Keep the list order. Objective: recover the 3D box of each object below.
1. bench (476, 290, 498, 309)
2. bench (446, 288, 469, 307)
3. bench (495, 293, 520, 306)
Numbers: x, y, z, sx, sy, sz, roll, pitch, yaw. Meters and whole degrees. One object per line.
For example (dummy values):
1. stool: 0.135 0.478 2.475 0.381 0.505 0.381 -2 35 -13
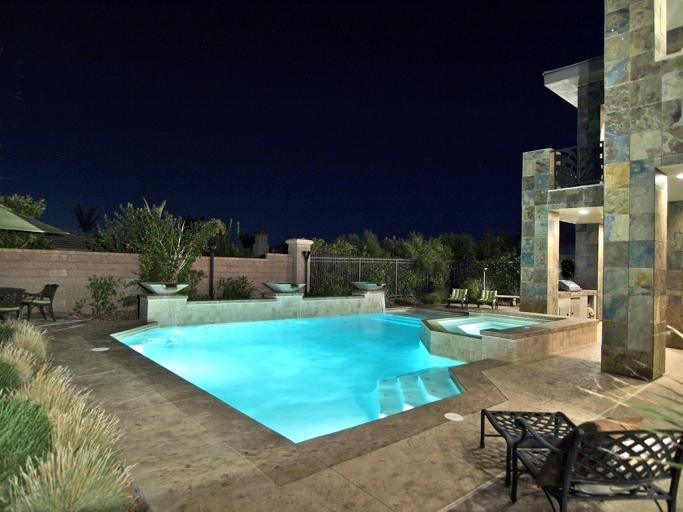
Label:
1. bench: 5.780 1.397 15.931 0.622 0.564 0.817 -2 -5 32
2. bench: 5.059 1.479 17.602 0.735 0.660 0.784 -3 -4 31
3. bench: 6.772 1.462 16.465 0.771 0.363 1.032 -2 5 -44
